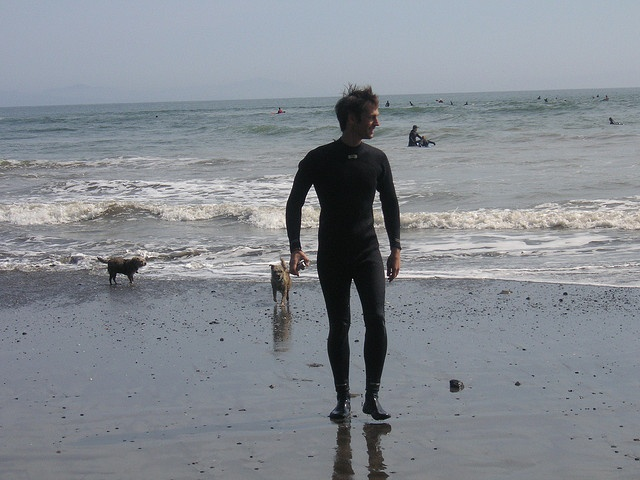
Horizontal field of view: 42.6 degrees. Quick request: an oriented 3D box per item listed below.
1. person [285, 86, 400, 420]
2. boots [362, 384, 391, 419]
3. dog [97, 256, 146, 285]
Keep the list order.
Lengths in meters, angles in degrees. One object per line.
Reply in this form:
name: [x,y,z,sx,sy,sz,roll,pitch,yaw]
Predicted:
person: [0.230,0.159,7.808,1.061,3.167,0.674,-1,13,4]
boots: [0.562,1.524,7.841,0.195,0.309,0.373,-3,10,-33]
dog: [-3.116,0.461,13.217,0.585,0.412,0.670,-4,11,-13]
